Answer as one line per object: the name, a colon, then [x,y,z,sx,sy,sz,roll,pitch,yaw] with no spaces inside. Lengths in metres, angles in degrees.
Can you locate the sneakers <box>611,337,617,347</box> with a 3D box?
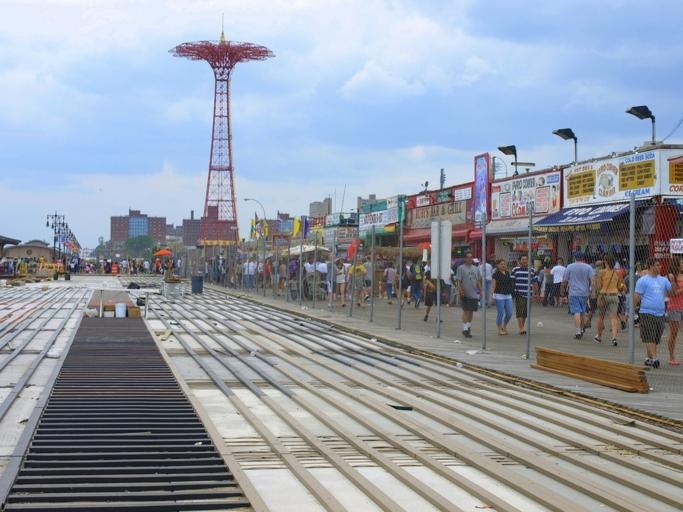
sneakers: [6.321,1.939,17.939,0.112,0.152,0.343,1,4,3]

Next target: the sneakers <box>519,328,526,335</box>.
sneakers: [4.804,1.997,20.577,0.098,0.196,0.286,0,-21,-8]

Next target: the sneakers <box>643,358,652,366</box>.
sneakers: [5.709,1.951,14.475,0.113,0.153,0.340,3,5,25]

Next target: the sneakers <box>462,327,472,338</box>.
sneakers: [3.218,1.882,19.805,0.134,0.276,0.375,3,20,5]

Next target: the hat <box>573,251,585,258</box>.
hat: [5.952,-0.041,19.384,0.207,0.152,0.331,-1,1,18]

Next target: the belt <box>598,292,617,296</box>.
belt: [6.449,0.886,18.724,0.365,0.084,0.077,-1,1,20]

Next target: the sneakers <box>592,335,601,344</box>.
sneakers: [6.173,1.966,18.697,0.091,0.112,0.255,7,2,7]

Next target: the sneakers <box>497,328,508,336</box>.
sneakers: [4.195,1.963,20.381,0.139,0.205,0.471,-2,-8,-14]

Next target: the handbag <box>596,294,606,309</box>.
handbag: [6.318,1.059,18.909,0.144,0.326,0.333,-1,1,-13]

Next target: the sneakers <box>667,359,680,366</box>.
sneakers: [6.276,1.978,14.645,0.255,0.114,0.094,-2,3,-37]
